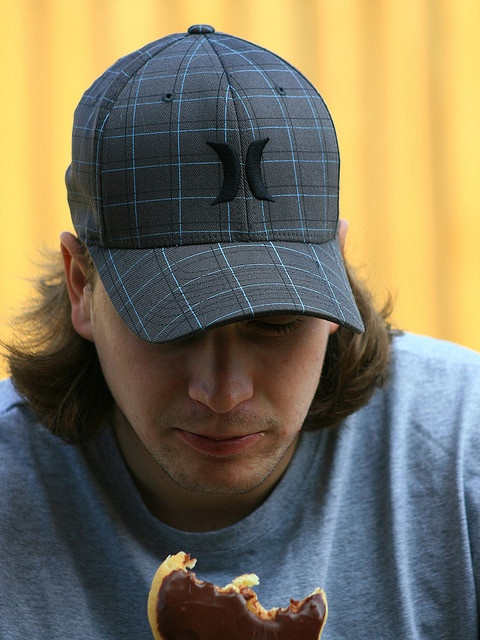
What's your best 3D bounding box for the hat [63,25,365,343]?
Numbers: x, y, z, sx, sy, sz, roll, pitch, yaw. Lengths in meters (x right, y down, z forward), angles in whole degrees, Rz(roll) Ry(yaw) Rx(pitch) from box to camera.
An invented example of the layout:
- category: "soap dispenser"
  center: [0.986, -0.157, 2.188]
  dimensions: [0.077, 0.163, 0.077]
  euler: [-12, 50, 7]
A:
- category: "hat"
  center: [-0.053, -0.377, 2.004]
  dimensions: [0.691, 0.486, 0.982]
  euler: [-5, 34, -12]
